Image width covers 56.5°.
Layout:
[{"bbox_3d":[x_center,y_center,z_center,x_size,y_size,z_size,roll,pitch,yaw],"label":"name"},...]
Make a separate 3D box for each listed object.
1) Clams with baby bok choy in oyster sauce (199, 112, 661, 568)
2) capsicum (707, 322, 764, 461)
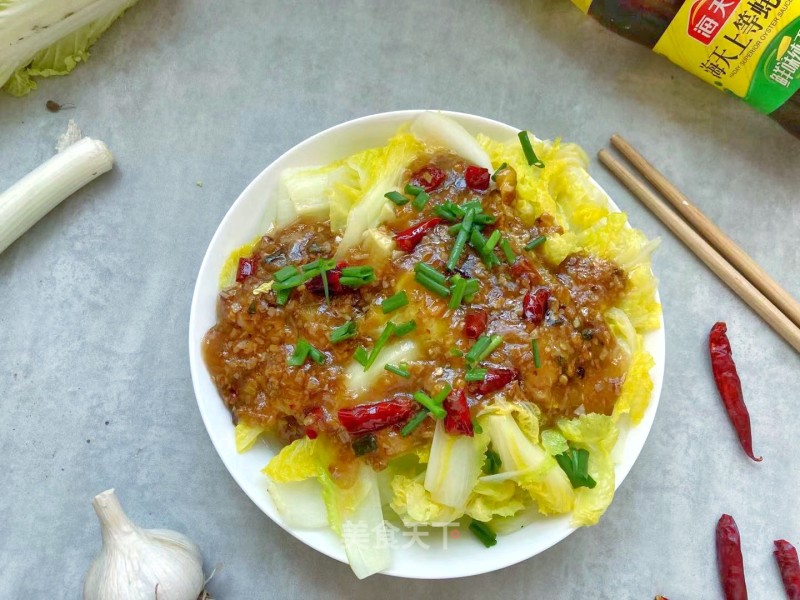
[{"bbox_3d":[0.098,0.179,3.354,1.838,0.530,2.087,7,64,3],"label":"Clams with baby bok choy in oyster sauce"},{"bbox_3d":[1.646,0.464,3.687,0.134,0.152,0.702,-14,78,-8],"label":"capsicum"}]
